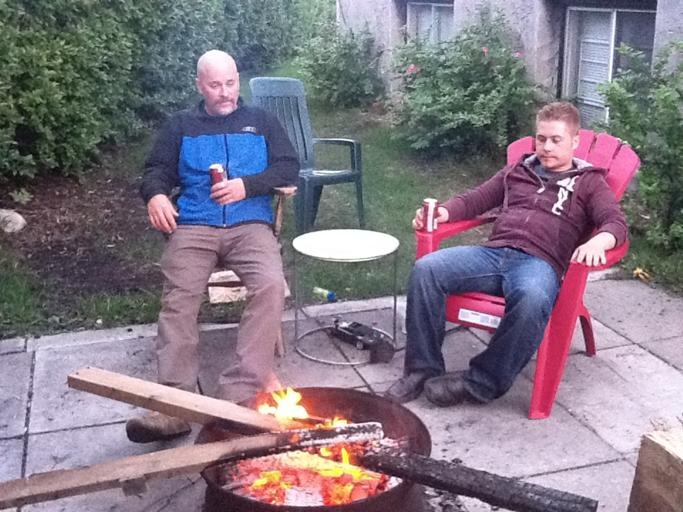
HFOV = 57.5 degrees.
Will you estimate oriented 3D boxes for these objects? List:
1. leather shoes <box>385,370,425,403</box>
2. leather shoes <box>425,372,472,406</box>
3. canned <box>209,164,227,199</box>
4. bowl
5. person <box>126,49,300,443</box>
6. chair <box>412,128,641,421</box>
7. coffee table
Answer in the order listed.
[{"bbox_3d":[0.380,0.769,3.725,0.121,0.116,0.277,9,16,37],"label":"leather shoes"},{"bbox_3d":[0.621,0.791,3.663,0.258,0.117,0.154,-7,26,-17],"label":"leather shoes"},{"bbox_3d":[-0.774,-0.509,3.876,0.078,0.138,0.160,-2,20,-4],"label":"canned"},{"bbox_3d":[-0.122,0.984,2.956,1.050,0.384,0.724,-10,22,-23],"label":"bowl"},{"bbox_3d":[-0.764,-0.194,3.854,1.012,1.978,1.550,-2,20,-4],"label":"person"},{"bbox_3d":[0.857,0.230,3.850,0.693,0.966,0.839,1,47,-5],"label":"chair"},{"bbox_3d":[0.027,0.205,4.346,0.840,0.941,0.881,-3,13,-9],"label":"coffee table"}]
